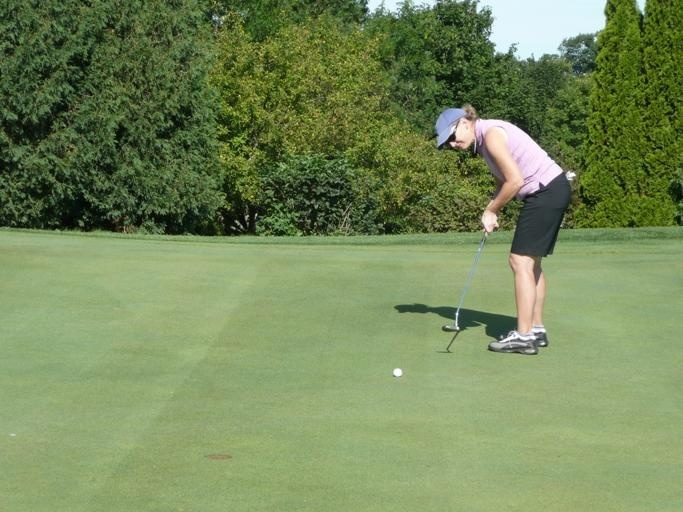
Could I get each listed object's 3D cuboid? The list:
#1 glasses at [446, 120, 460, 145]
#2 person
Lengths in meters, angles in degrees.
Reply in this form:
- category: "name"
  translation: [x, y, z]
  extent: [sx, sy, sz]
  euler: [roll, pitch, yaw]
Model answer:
- category: "glasses"
  translation: [0.886, -0.986, 5.664]
  extent: [0.038, 0.135, 0.130]
  euler: [6, -17, -5]
- category: "person"
  translation: [1.264, -0.268, 5.531]
  extent: [0.959, 1.808, 0.826]
  euler: [4, 7, 17]
